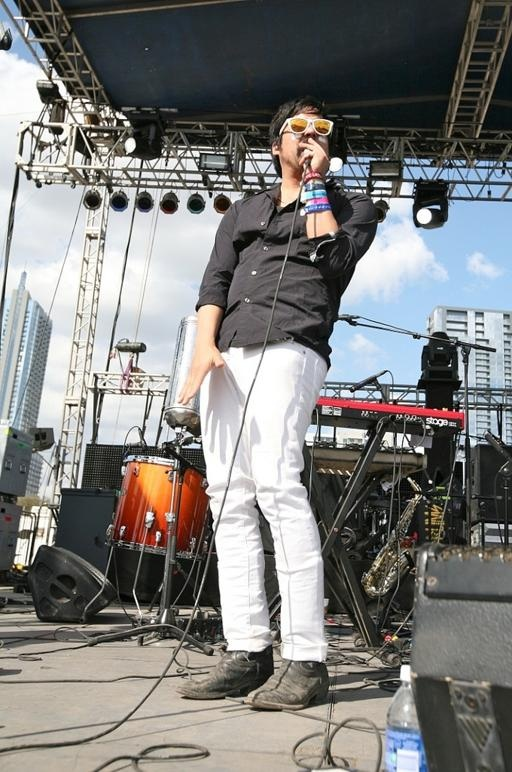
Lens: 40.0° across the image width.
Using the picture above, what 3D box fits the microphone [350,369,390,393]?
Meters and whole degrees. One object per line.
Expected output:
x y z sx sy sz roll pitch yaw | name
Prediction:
0.781 -0.032 4.830 0.083 0.114 0.354 -34 2 -39 | microphone

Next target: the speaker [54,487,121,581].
-1.171 0.988 4.854 0.357 0.618 0.376 3 -1 -17 | speaker

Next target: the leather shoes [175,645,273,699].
-0.065 0.649 1.606 0.227 0.104 0.077 2 -6 -21 | leather shoes

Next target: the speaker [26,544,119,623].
-0.911 0.932 3.449 0.393 0.373 0.387 1 0 -20 | speaker

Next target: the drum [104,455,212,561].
-0.486 0.605 3.842 0.599 0.530 0.595 11 -3 24 | drum

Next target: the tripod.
-0.503 0.756 3.643 0.661 1.004 0.604 2 -2 -24 | tripod

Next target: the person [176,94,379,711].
0.025 -0.018 1.724 0.444 1.485 0.386 6 -10 7 | person
